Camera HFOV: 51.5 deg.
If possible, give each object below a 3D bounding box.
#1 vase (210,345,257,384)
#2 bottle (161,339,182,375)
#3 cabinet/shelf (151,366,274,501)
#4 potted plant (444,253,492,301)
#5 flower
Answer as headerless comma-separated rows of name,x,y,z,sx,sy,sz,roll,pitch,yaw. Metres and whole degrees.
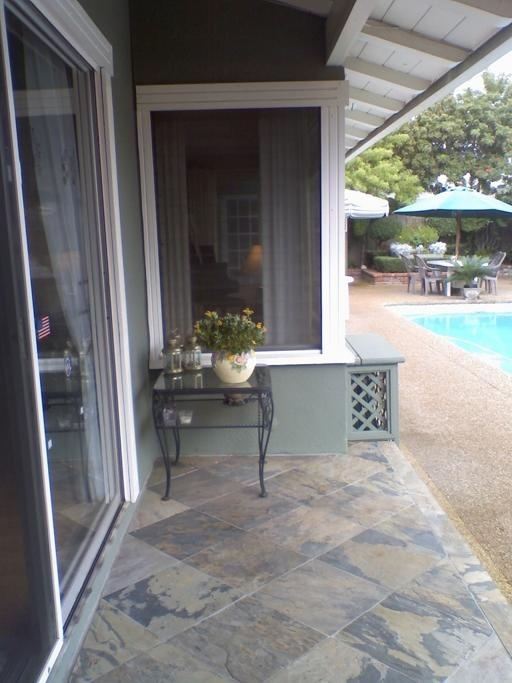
vase,-0.118,0.127,2.978,0.196,0.164,0.190,0,0,-24
bottle,-0.491,0.101,3.201,0.161,0.264,0.169,0,0,0
cabinet/shelf,-0.249,0.500,3.224,0.675,0.661,0.791,-2,7,-4
potted plant,4.640,-1.440,11.604,0.899,0.957,0.899,0,11,6
flower,-0.159,-0.059,3.181,0.363,0.290,0.438,-3,7,-12
